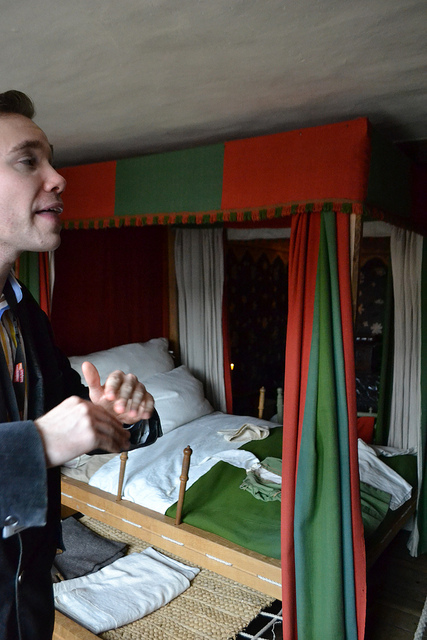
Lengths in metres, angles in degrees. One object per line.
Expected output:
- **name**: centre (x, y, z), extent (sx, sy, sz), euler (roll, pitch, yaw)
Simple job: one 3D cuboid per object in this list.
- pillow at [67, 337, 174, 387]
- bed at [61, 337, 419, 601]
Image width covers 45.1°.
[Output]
- **pillow**: centre (-0.634, 0.293, 3.870), extent (0.444, 0.136, 0.517), euler (2, 9, 33)
- **bed**: centre (-0.048, 0.865, 2.800), extent (1.823, 0.752, 1.360), euler (4, 12, 37)
